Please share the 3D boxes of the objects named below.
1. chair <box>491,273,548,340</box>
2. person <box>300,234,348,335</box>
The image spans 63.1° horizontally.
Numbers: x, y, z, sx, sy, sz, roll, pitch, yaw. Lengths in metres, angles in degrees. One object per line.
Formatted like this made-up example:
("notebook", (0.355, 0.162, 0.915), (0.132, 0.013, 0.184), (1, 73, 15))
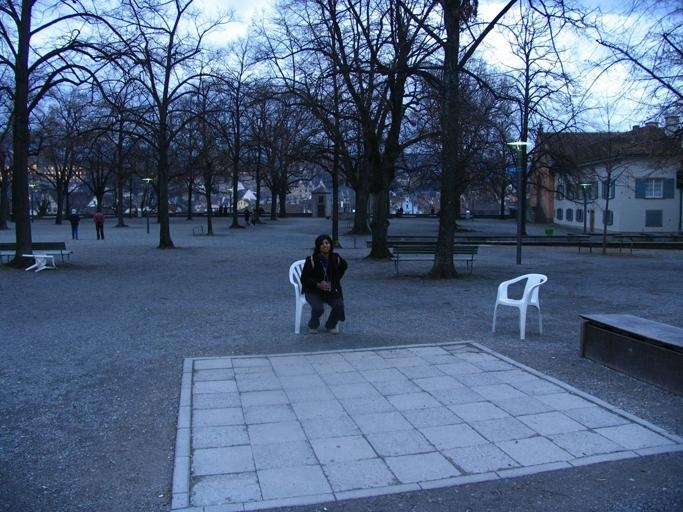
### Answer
("chair", (3.061, 0.798, 9.486), (0.702, 1.062, 0.763), (2, 1, -14))
("person", (-0.308, 0.438, 9.410), (0.782, 1.642, 0.611), (-2, 6, -7))
